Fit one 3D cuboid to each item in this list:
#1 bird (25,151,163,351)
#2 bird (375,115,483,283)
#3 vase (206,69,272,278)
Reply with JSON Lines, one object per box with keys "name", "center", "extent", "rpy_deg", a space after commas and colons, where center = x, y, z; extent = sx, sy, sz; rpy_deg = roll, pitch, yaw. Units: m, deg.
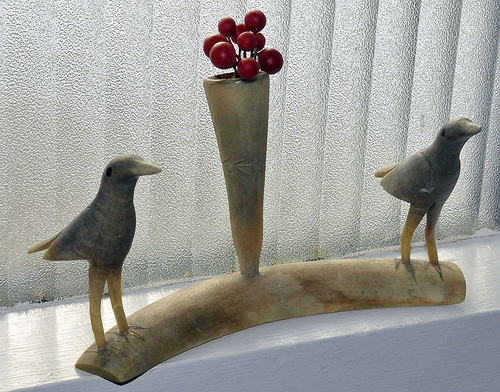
{"name": "bird", "center": [-0.246, 0.080, 0.871], "extent": [0.263, 0.303, 0.098], "rpy_deg": [5, 6, 25]}
{"name": "bird", "center": [0.332, 0.012, 1.013], "extent": [0.186, 0.306, 0.160], "rpy_deg": [-4, 6, 26]}
{"name": "vase", "center": [-0.010, -0.025, 0.932], "extent": [0.100, 0.360, 0.126], "rpy_deg": [-8, 6, -17]}
